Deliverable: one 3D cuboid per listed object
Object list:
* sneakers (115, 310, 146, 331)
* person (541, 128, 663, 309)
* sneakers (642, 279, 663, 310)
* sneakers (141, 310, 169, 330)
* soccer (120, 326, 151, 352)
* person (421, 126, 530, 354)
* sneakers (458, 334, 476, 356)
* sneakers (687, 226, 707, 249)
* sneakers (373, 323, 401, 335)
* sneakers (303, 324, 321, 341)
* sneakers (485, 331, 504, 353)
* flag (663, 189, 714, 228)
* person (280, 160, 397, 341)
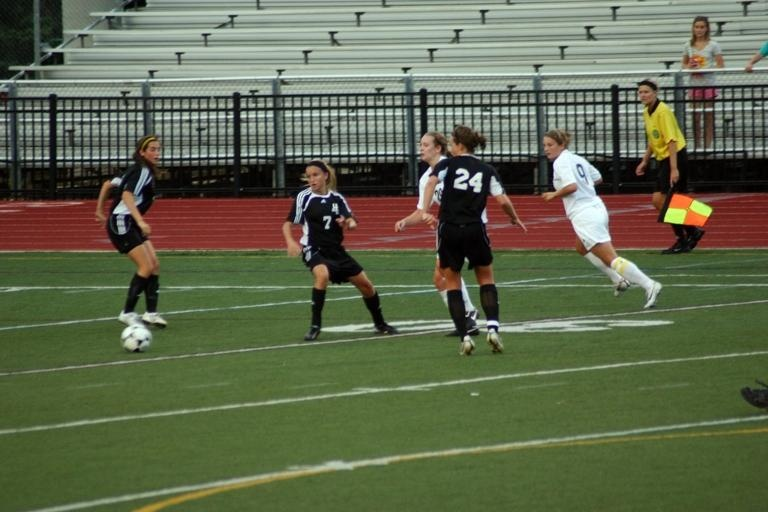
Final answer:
[{"bbox_3d":[-2.797,0.717,10.539,0.480,0.180,0.176,5,4,15],"label":"sneakers"},{"bbox_3d":[2.529,-0.477,11.439,1.166,2.096,0.847,-1,12,8],"label":"person"},{"bbox_3d":[3.148,0.479,11.125,0.232,0.380,0.143,15,22,3],"label":"sneakers"},{"bbox_3d":[-2.666,0.722,10.874,0.347,0.122,0.134,10,9,5],"label":"sneakers"},{"bbox_3d":[-2.589,0.851,9.880,0.284,0.245,0.236,-9,14,-32],"label":"soccer"},{"bbox_3d":[0.868,-0.162,9.684,0.947,2.286,1.191,-1,12,6],"label":"person"},{"bbox_3d":[0.822,0.893,9.442,0.115,0.106,0.236,-3,-11,-5],"label":"sneakers"},{"bbox_3d":[5.187,-0.333,15.852,0.230,0.495,0.183,-33,61,-11],"label":"sneakers"},{"bbox_3d":[0.015,0.800,10.439,0.235,0.082,0.116,-1,6,7],"label":"sneakers"},{"bbox_3d":[-0.764,0.827,10.167,0.100,0.098,0.240,15,4,4],"label":"sneakers"},{"bbox_3d":[1.105,0.842,9.431,0.155,0.270,0.231,-1,12,6],"label":"sneakers"},{"bbox_3d":[4.671,-0.699,14.779,0.688,0.558,0.999,1,12,13],"label":"flag"},{"bbox_3d":[-0.567,-0.092,10.579,1.062,1.893,1.020,-7,13,-20],"label":"person"}]
